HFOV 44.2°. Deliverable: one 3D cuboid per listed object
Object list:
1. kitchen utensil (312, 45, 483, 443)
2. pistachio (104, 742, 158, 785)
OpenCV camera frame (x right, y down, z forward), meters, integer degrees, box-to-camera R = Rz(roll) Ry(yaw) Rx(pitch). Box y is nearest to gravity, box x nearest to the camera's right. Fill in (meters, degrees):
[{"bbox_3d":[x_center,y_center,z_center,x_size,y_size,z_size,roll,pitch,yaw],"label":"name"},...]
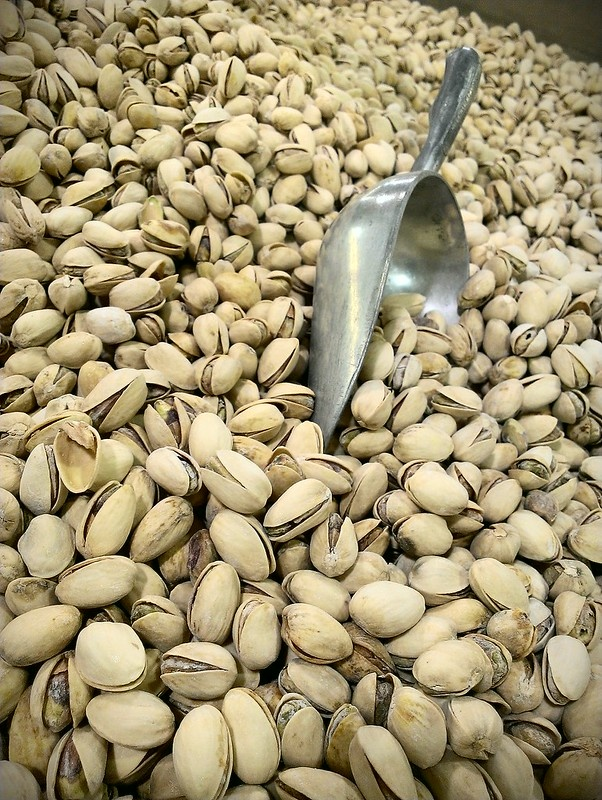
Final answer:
[{"bbox_3d":[0.184,-0.345,1.356,0.252,0.863,0.127,27,-17,-31],"label":"kitchen utensil"},{"bbox_3d":[-0.205,0.433,0.902,0.055,0.043,0.022,-30,12,-24],"label":"pistachio"}]
